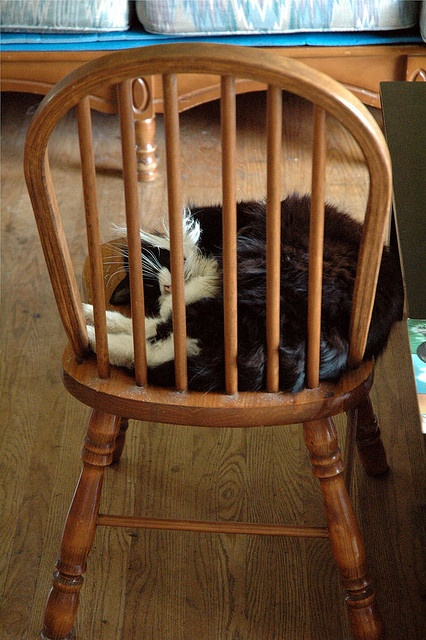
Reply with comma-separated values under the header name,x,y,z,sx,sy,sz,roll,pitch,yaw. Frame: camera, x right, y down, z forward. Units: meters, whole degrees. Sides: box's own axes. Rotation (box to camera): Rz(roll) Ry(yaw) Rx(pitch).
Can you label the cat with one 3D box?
name,x,y,z,sx,sy,sz,roll,pitch,yaw
cat,0.039,-0.080,0.535,0.298,0.077,0.228,-22,41,-36
